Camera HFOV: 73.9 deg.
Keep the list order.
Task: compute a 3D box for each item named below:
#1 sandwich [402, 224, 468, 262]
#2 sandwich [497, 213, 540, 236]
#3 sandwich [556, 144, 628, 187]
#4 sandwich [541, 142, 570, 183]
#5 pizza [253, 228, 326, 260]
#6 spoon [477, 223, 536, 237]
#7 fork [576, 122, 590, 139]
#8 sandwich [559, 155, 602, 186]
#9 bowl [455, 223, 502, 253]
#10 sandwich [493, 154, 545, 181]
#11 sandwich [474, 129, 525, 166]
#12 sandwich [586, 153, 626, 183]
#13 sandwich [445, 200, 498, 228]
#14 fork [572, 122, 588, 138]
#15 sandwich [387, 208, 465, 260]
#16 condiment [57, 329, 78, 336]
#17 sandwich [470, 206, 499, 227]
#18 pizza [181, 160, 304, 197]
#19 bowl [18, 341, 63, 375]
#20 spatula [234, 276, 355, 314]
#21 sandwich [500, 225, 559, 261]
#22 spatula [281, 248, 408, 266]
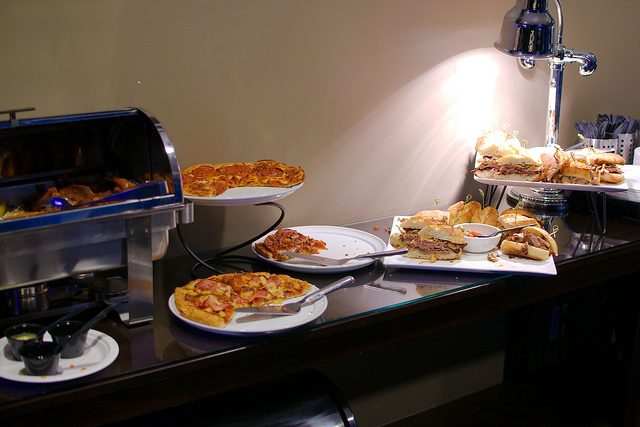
[{"bbox_3d":[0.342,0.062,1.384,0.202,0.105,0.191,-6,17,-15],"label":"sandwich"},{"bbox_3d":[0.669,0.027,1.463,0.108,0.030,0.077,-12,35,-18],"label":"sandwich"},{"bbox_3d":[0.988,-0.171,1.555,0.199,0.112,0.280,9,16,31],"label":"sandwich"},{"bbox_3d":[0.853,-0.181,1.550,0.081,0.029,0.204,-23,29,21],"label":"sandwich"},{"bbox_3d":[-0.114,0.102,1.364,0.170,0.049,0.229,16,20,29],"label":"pizza"},{"bbox_3d":[0.618,0.056,1.407,0.174,0.019,0.019,-11,10,-28],"label":"spoon"},{"bbox_3d":[1.218,-0.391,1.986,0.024,0.087,0.022,-24,-14,10],"label":"fork"},{"bbox_3d":[0.954,-0.160,1.539,0.157,0.060,0.207,7,29,43],"label":"sandwich"},{"bbox_3d":[0.520,0.073,1.388,0.113,0.047,0.110,2,16,0],"label":"bowl"},{"bbox_3d":[0.723,-0.167,1.549,0.170,0.090,0.052,5,15,19],"label":"sandwich"},{"bbox_3d":[0.721,-0.278,1.721,0.265,0.060,0.255,-25,30,-37],"label":"sandwich"},{"bbox_3d":[1.038,-0.168,1.554,0.119,0.049,0.156,4,25,13],"label":"sandwich"},{"bbox_3d":[0.556,-0.006,1.553,0.142,0.043,0.099,10,33,9],"label":"sandwich"},{"bbox_3d":[1.223,-0.386,2.007,0.093,0.022,0.024,44,36,3],"label":"fork"},{"bbox_3d":[0.346,0.065,1.374,0.236,0.122,0.183,3,14,9],"label":"sandwich"},{"bbox_3d":[-0.583,0.276,0.992,0.021,0.008,0.020,4,27,3],"label":"condiment"},{"bbox_3d":[0.595,0.003,1.536,0.075,0.022,0.070,3,52,28],"label":"sandwich"},{"bbox_3d":[-0.240,-0.111,1.335,0.361,0.071,0.193,-4,15,-21],"label":"pizza"},{"bbox_3d":[-0.603,0.311,0.923,0.082,0.051,0.078,6,22,-3],"label":"bowl"},{"bbox_3d":[-0.032,0.207,1.121,0.372,0.061,0.082,-8,16,-32],"label":"spatula"},{"bbox_3d":[0.656,0.085,1.337,0.132,0.045,0.125,-4,28,-11],"label":"sandwich"},{"bbox_3d":[0.071,0.134,1.306,0.283,0.032,0.037,-2,32,7],"label":"spatula"}]
